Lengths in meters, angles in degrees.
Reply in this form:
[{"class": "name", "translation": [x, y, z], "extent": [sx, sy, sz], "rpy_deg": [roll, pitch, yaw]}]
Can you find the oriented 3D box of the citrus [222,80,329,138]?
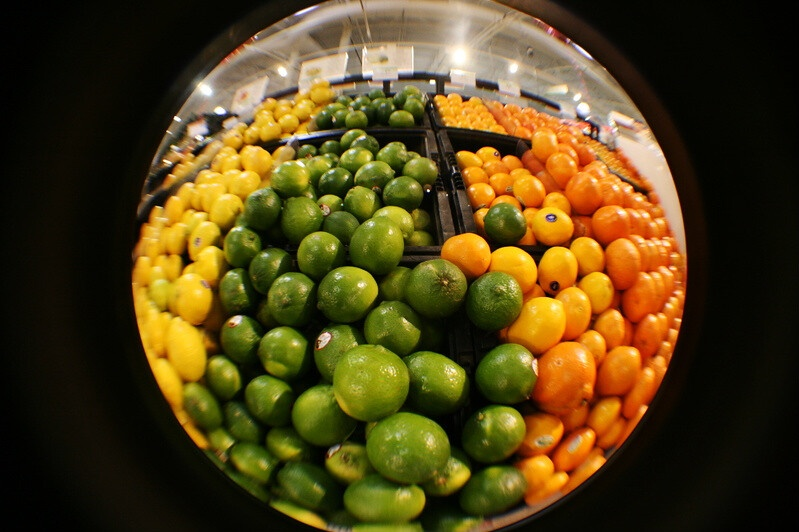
[{"class": "citrus", "translation": [-0.888, -1.189, 3.908], "extent": [0.629, 0.211, 0.493], "rpy_deg": [-34, 23, -1]}]
